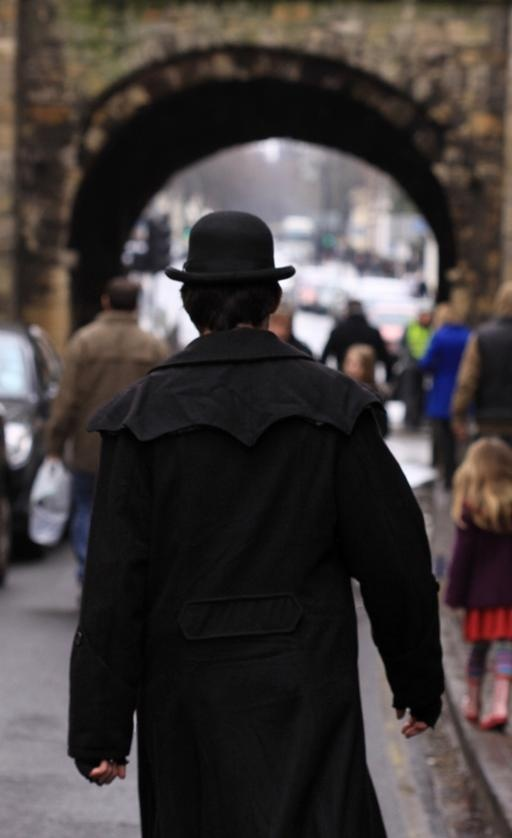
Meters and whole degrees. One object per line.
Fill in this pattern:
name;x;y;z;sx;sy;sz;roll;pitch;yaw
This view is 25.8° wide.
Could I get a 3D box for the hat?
hat;-0.039;-0.301;2.133;0.178;0.093;0.173;2;1;-4
